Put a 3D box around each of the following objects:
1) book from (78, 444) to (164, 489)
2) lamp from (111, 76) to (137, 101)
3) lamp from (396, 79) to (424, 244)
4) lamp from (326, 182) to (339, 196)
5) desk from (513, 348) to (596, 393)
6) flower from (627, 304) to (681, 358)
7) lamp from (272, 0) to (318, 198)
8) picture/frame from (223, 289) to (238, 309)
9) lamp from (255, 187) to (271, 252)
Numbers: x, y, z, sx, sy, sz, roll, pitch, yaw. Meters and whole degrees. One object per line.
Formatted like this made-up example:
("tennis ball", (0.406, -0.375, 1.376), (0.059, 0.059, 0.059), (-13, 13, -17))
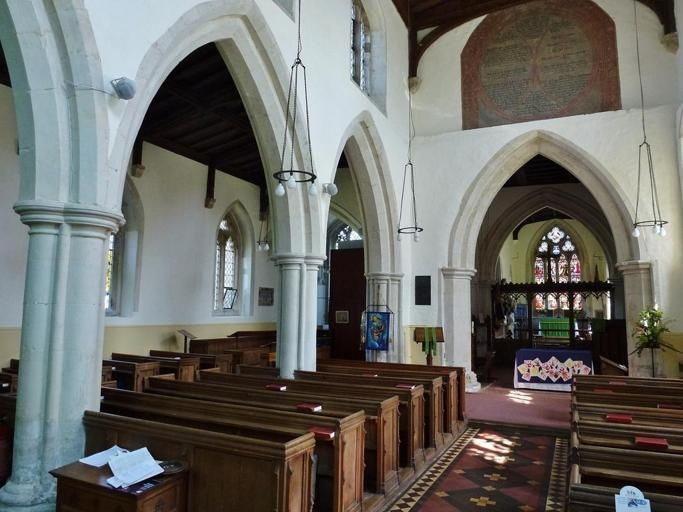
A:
("book", (-1.650, 1.666, 4.035), (0.351, 0.081, 0.326), (23, 6, 42))
("lamp", (-2.191, -1.677, 5.141), (0.250, 0.213, 0.176), (2, 8, -45))
("lamp", (1.564, -2.089, 11.552), (0.705, 3.461, 0.712), (-8, 16, -35))
("lamp", (-0.184, -1.100, 8.401), (0.206, 0.194, 0.332), (7, 6, -6))
("desk", (4.588, 2.616, 11.107), (1.538, 0.903, 0.757), (-7, -45, 25))
("flower", (5.967, 1.416, 9.967), (0.870, 0.820, 0.779), (-3, 0, -25))
("lamp", (-0.586, -2.399, 7.656), (0.598, 3.088, 1.166), (6, 6, -6))
("picture/frame", (-3.016, 1.142, 13.718), (0.047, 0.512, 0.418), (-3, -14, 29))
("lamp", (-2.131, -1.009, 14.228), (0.431, 1.873, 1.340), (5, 6, -10))
